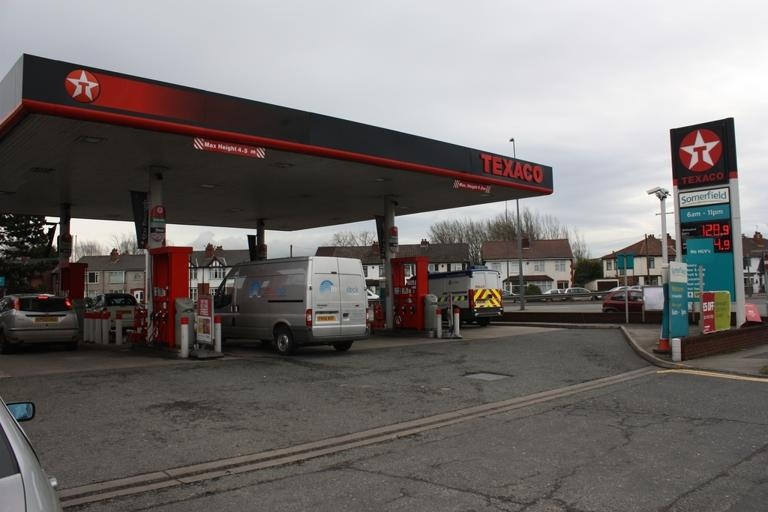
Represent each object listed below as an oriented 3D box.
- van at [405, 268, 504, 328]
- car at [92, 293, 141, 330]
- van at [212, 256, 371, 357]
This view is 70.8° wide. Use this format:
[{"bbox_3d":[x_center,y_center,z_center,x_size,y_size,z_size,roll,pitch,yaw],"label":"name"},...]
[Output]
[{"bbox_3d":[3.376,1.960,26.011,2.528,2.227,4.255,5,-4,-41],"label":"van"},{"bbox_3d":[-10.238,2.392,21.040,1.749,1.460,3.020,1,1,-37],"label":"car"},{"bbox_3d":[-2.906,1.298,16.623,4.591,2.103,2.651,0,-2,41],"label":"van"}]
